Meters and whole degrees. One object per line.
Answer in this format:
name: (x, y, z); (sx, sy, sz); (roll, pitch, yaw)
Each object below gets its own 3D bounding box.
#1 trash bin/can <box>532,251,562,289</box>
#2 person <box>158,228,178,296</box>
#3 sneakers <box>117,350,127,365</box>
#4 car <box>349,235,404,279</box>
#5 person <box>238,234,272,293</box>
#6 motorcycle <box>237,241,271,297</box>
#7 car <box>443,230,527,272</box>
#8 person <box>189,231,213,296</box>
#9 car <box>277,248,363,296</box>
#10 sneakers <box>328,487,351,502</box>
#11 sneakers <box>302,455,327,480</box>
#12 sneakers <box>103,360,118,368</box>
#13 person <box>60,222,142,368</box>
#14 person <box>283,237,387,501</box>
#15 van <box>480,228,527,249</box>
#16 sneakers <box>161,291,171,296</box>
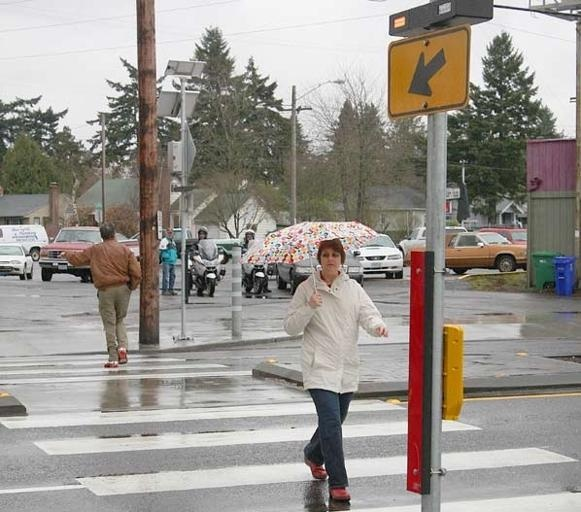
trash bin/can: (6.417, 0.361, 29.658); (0.854, 1.221, 0.767); (0, 0, 7)
person: (-3.293, 0.149, 31.105); (0.445, 1.708, 1.570); (0, 4, -6)
sneakers: (-2.300, 1.371, 15.776); (0.140, 0.237, 0.169); (0, -2, -18)
car: (2.869, 0.035, 37.552); (1.135, 0.954, 2.678); (-1, -3, 0)
person: (-0.971, 0.367, 31.055); (0.716, 1.402, 2.466); (0, -2, -6)
motorcycle: (-1.034, 0.619, 29.675); (0.677, 1.045, 1.751); (-1, -1, -8)
car: (6.510, -0.085, 38.781); (2.991, 1.113, 1.654); (-2, 0, 38)
person: (-2.304, 0.152, 30.336); (0.709, 1.801, 1.539); (0, 4, -4)
car: (0.386, 0.437, 30.840); (1.004, 0.963, 2.311); (0, -3, -16)
sneakers: (0.387, 1.901, 9.300); (0.173, 0.106, 0.165); (1, 4, 2)
sneakers: (0.200, 1.815, 9.843); (0.091, 0.110, 0.254); (2, -1, -25)
sneakers: (-2.404, 1.445, 15.484); (0.072, 0.096, 0.209); (-1, 3, -30)
person: (-2.463, 0.530, 15.632); (0.890, 1.902, 0.617); (1, 4, 2)
person: (0.338, 0.900, 9.534); (0.772, 2.060, 0.633); (3, 5, 24)
van: (7.756, -0.776, 42.223); (1.782, 0.843, 0.999); (-1, 3, 41)
sneakers: (-3.325, 1.008, 30.909); (0.102, 0.144, 0.310); (0, -4, -25)
